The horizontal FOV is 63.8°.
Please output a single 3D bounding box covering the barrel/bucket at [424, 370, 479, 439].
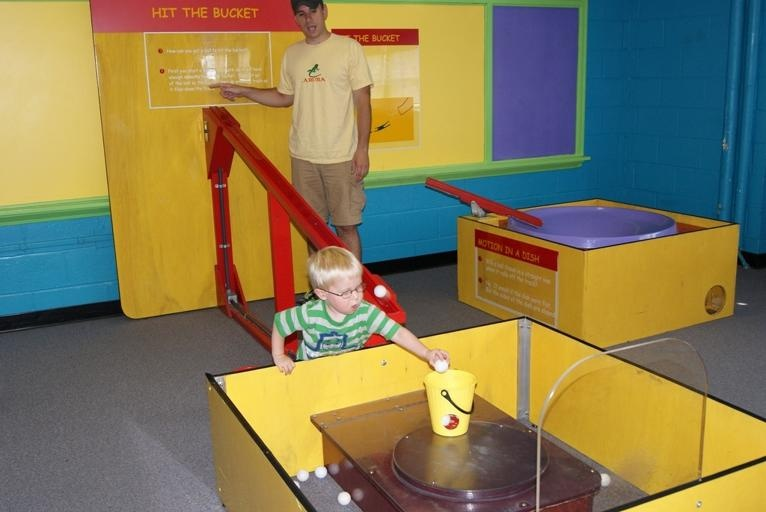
[{"bbox_3d":[0.247,0.567,2.342,0.214,0.193,0.208,-1,2,0],"label":"barrel/bucket"}]
